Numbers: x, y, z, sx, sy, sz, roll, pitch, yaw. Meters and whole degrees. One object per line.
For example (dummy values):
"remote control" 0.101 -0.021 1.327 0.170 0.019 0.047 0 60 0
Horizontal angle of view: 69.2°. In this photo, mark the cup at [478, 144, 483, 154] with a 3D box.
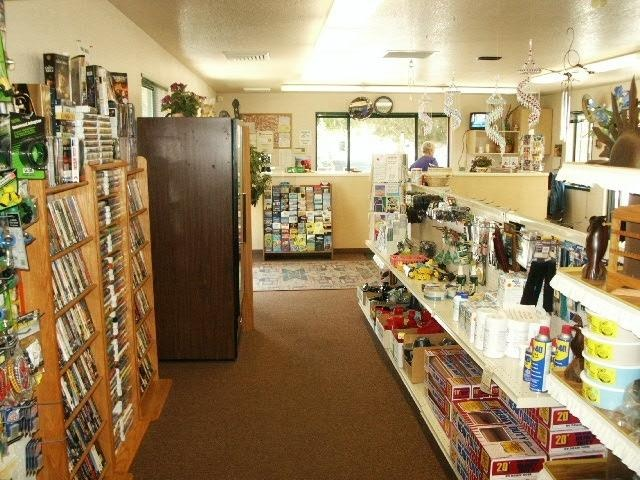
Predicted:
"cup" 3.910 -2.181 11.215 0.137 0.199 0.213 4 15 20

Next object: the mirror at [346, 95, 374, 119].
"mirror" 0.922 -2.949 10.401 0.466 0.464 0.291 4 14 20

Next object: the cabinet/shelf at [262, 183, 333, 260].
"cabinet/shelf" -0.438 -0.395 9.035 1.333 1.417 0.548 0 4 -2

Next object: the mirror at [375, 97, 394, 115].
"mirror" 1.510 -3.192 10.974 0.433 0.386 0.142 -4 13 -12

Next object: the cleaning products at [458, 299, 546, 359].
"cleaning products" 1.059 0.391 2.653 0.245 0.246 0.474 -2 10 -3

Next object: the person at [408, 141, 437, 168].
"person" 1.987 -1.567 8.746 0.428 0.496 1.397 3 15 13

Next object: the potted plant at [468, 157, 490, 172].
"potted plant" 3.285 -1.521 9.528 0.423 0.334 0.449 -1 4 -4

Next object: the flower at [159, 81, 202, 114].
"flower" -1.439 -1.467 4.858 0.444 0.343 0.472 -5 15 -16
